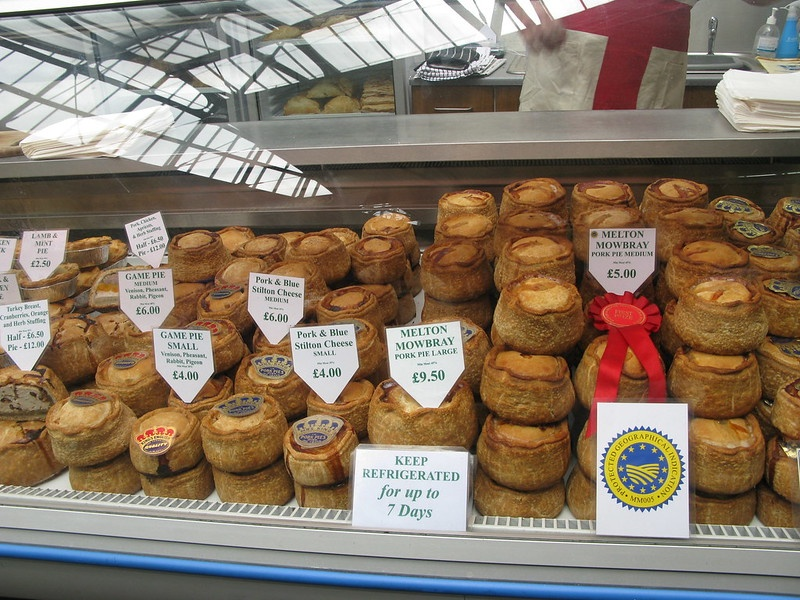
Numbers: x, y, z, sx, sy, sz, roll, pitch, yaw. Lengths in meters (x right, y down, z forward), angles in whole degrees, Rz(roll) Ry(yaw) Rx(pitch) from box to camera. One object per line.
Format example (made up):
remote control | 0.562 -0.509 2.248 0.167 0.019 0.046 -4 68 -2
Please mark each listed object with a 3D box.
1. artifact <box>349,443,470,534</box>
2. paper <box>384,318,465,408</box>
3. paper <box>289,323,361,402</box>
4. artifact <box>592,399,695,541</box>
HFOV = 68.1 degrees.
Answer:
artifact | -0.012 0.424 1.331 0.351 0.187 0.078 20 -31 -36
paper | 0.062 0.150 1.370 0.176 0.189 0.105 -5 23 -1
paper | -0.188 0.150 1.470 0.240 0.171 0.023 -2 1 6
artifact | 0.514 0.362 1.256 0.186 0.271 0.139 0 23 10
